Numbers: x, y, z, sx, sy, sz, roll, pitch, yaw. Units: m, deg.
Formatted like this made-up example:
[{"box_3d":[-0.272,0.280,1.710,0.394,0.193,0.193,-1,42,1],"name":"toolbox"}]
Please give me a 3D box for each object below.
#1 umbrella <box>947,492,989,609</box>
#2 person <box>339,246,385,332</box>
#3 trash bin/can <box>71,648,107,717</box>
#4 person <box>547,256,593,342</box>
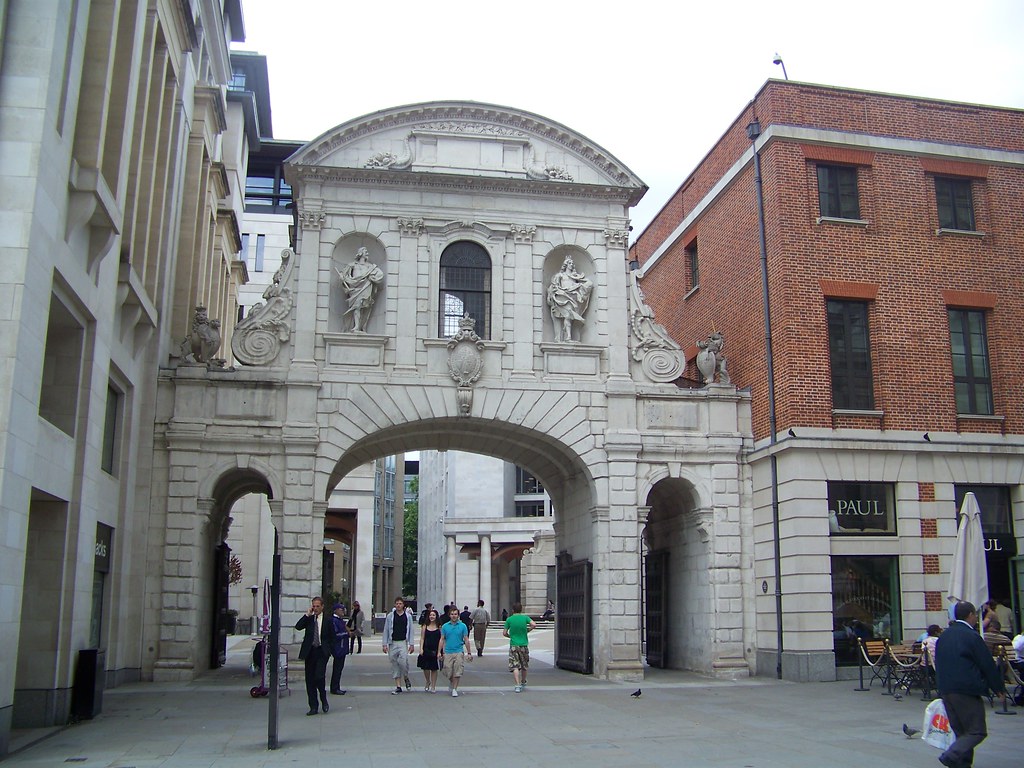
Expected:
[{"box_3d":[10.741,3.893,23.075,0.757,2.826,1.404,-8,-18,32],"name":"umbrella"},{"box_3d":[-4.471,-2.813,29.142,1.267,2.620,0.709,4,-15,-11],"name":"person"},{"box_3d":[-8.921,6.282,20.656,0.424,1.363,0.765,3,-11,-8],"name":"trash bin/can"},{"box_3d":[1.807,-2.571,30.147,1.403,2.573,0.723,2,-15,-1],"name":"person"}]
